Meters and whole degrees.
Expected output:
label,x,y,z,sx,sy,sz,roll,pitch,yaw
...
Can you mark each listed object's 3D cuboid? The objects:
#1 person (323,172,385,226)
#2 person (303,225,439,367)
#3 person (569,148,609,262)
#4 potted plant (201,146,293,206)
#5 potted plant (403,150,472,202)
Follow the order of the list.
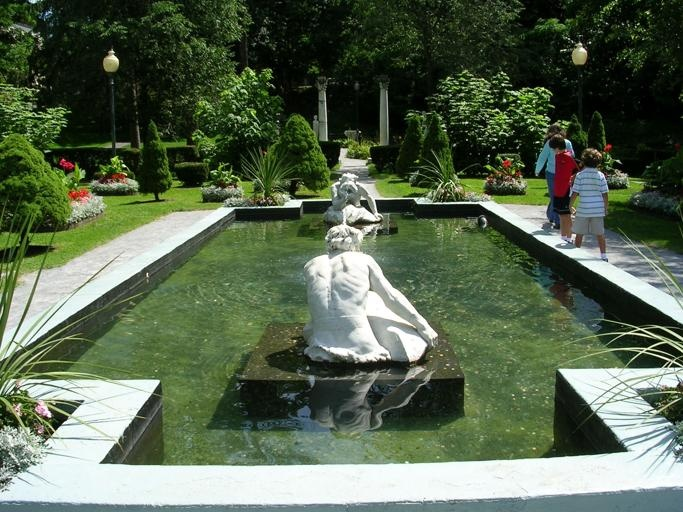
label,x,y,z,sx,sy,sz,roll,pitch,yaw
person,0.187,-1.112,11.400,1.620,1.062,1.158,1,-2,-3
person,0.219,0.257,4.776,1.437,0.966,1.177,2,5,24
person,3.451,-0.714,7.483,0.466,1.539,0.790,2,18,21
potted plant,-2.553,-1.990,14.480,3.066,1.485,2.440,1,10,-6
potted plant,2.691,-2.312,15.591,2.276,1.284,1.945,5,10,33
